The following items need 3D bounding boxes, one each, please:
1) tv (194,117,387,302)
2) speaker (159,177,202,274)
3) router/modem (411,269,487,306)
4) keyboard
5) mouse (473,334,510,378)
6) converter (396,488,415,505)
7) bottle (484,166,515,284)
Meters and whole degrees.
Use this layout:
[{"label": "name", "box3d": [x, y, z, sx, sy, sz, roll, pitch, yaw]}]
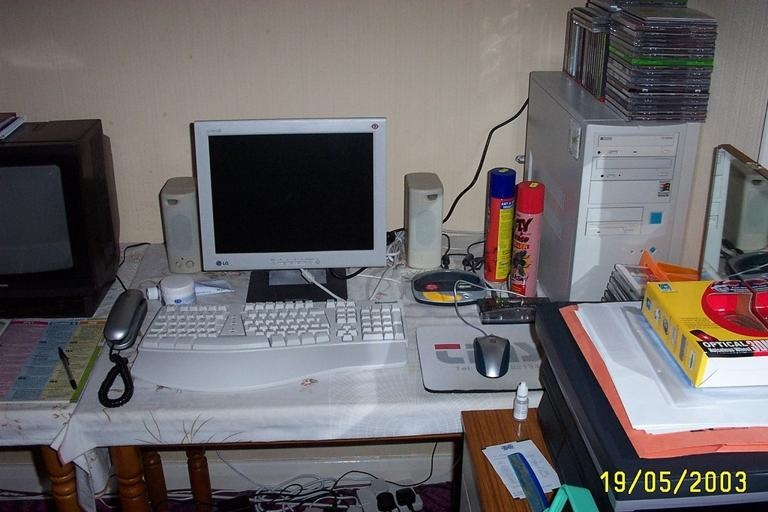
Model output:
[{"label": "tv", "box3d": [-0.268, -0.146, 1.659, 0.549, 0.505, 0.179, 0, 24, -2]}, {"label": "speaker", "box3d": [-0.618, -0.097, 1.883, 0.149, 0.286, 0.190, -6, 25, -16]}, {"label": "router/modem", "box3d": [0.188, 0.093, 1.831, 0.263, 0.083, 0.188, -7, 30, -7]}, {"label": "keyboard", "box3d": [-0.290, 0.219, 1.549, 0.680, 0.057, 0.324, -2, 31, -8]}, {"label": "mouse", "box3d": [0.272, 0.247, 1.463, 0.085, 0.046, 0.144, 4, 36, 7]}, {"label": "converter", "box3d": [0.078, 0.871, 2.095, 0.049, 0.044, 0.044, -1, -6, -3]}, {"label": "bottle", "box3d": [0.345, -0.091, 1.753, 0.103, 0.328, 0.124, -2, 16, -12]}]
